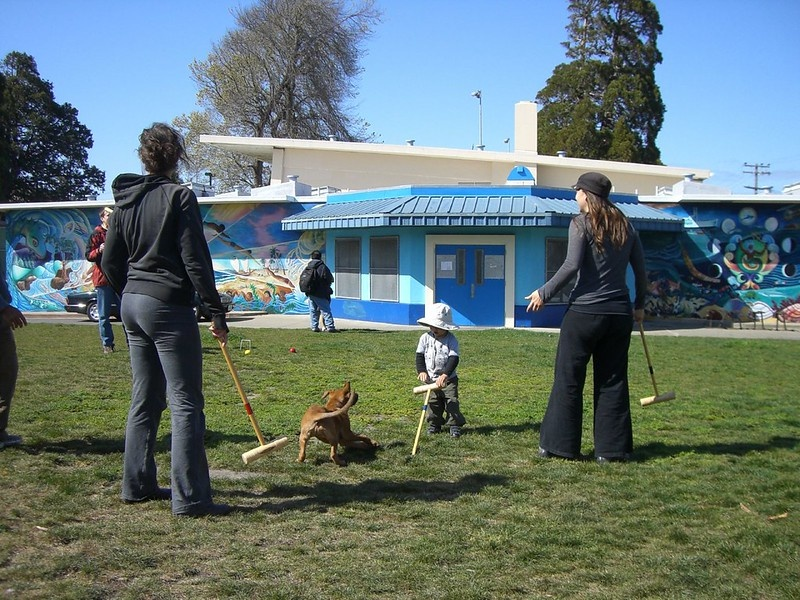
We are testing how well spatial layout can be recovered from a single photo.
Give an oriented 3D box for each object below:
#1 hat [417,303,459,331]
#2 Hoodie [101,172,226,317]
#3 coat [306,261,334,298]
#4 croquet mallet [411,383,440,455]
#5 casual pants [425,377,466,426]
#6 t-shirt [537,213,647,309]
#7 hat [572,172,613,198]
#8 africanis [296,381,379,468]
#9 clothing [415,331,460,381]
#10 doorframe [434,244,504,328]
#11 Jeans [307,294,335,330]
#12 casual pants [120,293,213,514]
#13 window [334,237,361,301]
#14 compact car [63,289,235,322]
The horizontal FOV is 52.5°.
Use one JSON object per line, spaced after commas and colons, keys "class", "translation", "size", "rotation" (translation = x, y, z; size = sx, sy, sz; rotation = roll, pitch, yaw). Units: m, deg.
{"class": "hat", "translation": [0.387, 0.175, 8.614], "size": [0.363, 0.288, 0.467], "rotation": [1, 8, 1]}
{"class": "Hoodie", "translation": [-1.976, -0.386, 6.515], "size": [0.843, 1.258, 0.522], "rotation": [-8, -6, 17]}
{"class": "coat", "translation": [-1.748, -0.447, 17.321], "size": [0.633, 0.837, 0.438], "rotation": [-3, 7, 24]}
{"class": "croquet mallet", "translation": [0.204, 1.155, 8.114], "size": [0.099, 0.628, 0.305], "rotation": [27, 14, 36]}
{"class": "casual pants", "translation": [0.459, 1.090, 8.516], "size": [0.411, 0.586, 0.247], "rotation": [-11, -23, 40]}
{"class": "t-shirt", "translation": [1.911, -0.351, 7.709], "size": [1.143, 1.026, 0.426], "rotation": [7, -8, -14]}
{"class": "hat", "translation": [1.824, -1.100, 7.636], "size": [0.223, 0.165, 0.304], "rotation": [9, 10, -8]}
{"class": "africanis", "translation": [-0.626, 1.168, 7.750], "size": [0.535, 0.684, 0.644], "rotation": [3, 8, 19]}
{"class": "clothing", "translation": [0.389, 0.607, 8.580], "size": [0.550, 0.705, 0.443], "rotation": [-1, -6, 21]}
{"class": "doorframe", "translation": [1.702, -0.437, 19.666], "size": [1.736, 2.341, 0.269], "rotation": [0, 27, 7]}
{"class": "Jeans", "translation": [-1.762, 0.280, 17.981], "size": [0.552, 1.083, 0.336], "rotation": [8, 26, 24]}
{"class": "casual pants", "translation": [-1.839, 0.791, 6.421], "size": [0.790, 1.684, 0.372], "rotation": [4, 8, 25]}
{"class": "window", "translation": [-1.374, -0.844, 21.439], "size": [0.230, 1.624, 1.195], "rotation": [-4, 9, -30]}
{"class": "compact car", "translation": [-3.290, 0.079, 9.984], "size": [1.675, 0.598, 0.766], "rotation": [-1, -2, -1]}
